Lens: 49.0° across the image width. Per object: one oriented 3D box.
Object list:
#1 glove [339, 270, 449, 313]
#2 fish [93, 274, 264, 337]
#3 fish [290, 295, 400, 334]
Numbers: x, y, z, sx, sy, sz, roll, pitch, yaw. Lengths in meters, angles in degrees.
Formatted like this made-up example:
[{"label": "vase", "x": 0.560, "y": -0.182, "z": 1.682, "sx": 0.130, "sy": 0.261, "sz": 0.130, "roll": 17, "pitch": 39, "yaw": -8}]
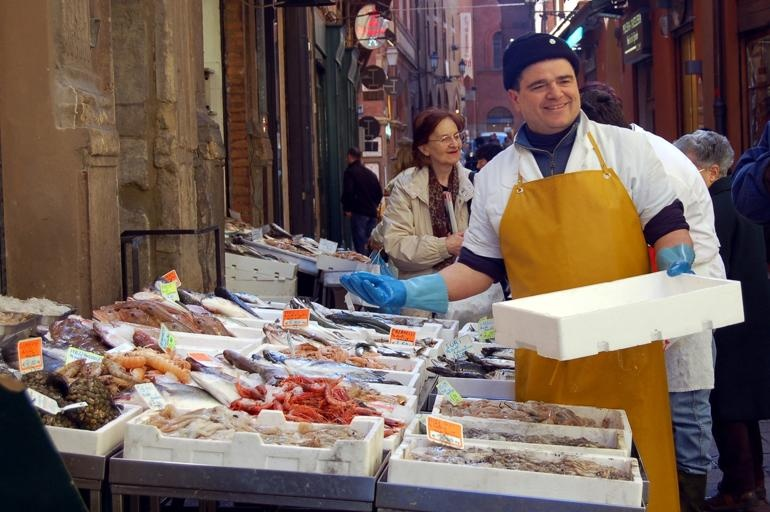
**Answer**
[{"label": "glove", "x": 0.095, "y": 0.202, "z": 5.036, "sx": 0.665, "sy": 0.220, "sz": 0.298, "roll": 0, "pitch": 17, "yaw": -13}, {"label": "fish", "x": -1.545, "y": 0.377, "z": 6.003, "sx": 0.510, "sy": 0.132, "sz": 0.533, "roll": 8, "pitch": 5, "yaw": -22}, {"label": "fish", "x": -0.344, "y": 0.431, "z": 6.395, "sx": 0.674, "sy": 0.241, "sz": 0.683, "roll": 0, "pitch": -6, "yaw": -4}]
